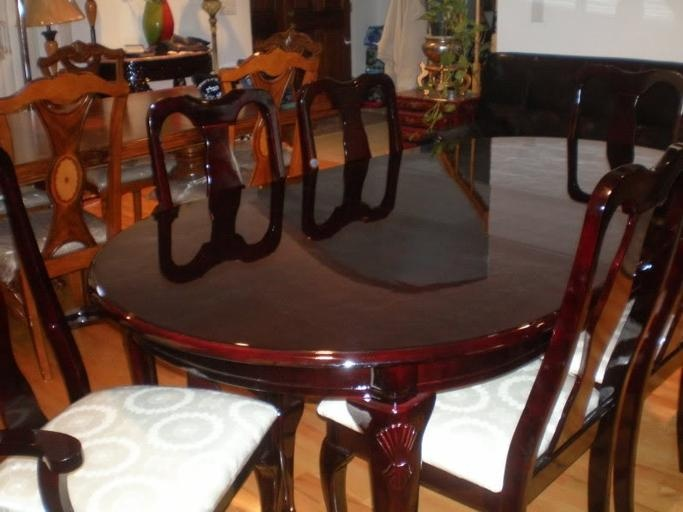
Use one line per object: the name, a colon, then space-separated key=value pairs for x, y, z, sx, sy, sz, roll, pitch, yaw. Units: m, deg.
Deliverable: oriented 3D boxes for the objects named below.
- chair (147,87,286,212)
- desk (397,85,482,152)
chair: x=-0.445 y=-0.384 z=2.027 sx=0.320 sy=0.597 sz=0.356 roll=-21 pitch=54 yaw=-24
desk: x=0.687 y=-0.942 z=4.147 sx=0.491 sy=0.518 sz=0.355 roll=19 pitch=30 yaw=35
